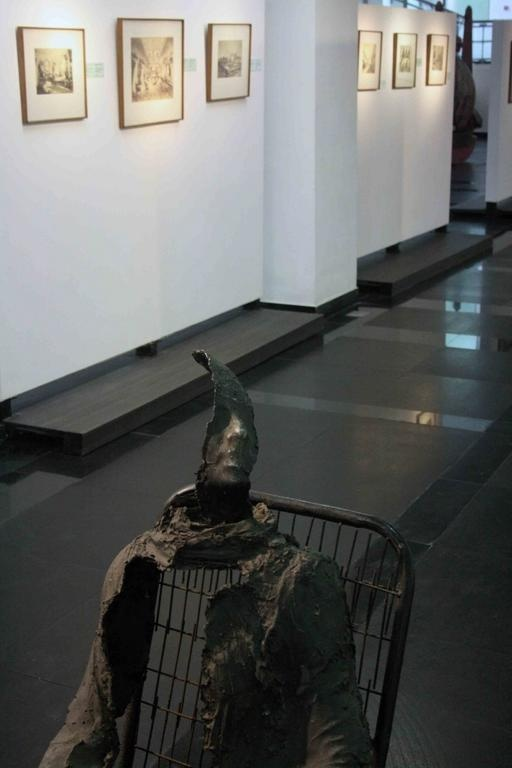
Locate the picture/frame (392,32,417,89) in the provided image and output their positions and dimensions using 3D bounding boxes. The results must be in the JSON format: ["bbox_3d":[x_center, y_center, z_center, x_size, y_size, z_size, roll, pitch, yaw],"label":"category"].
[{"bbox_3d":[2.666,-5.830,10.206,0.084,1.345,1.015,6,15,31],"label":"picture/frame"}]

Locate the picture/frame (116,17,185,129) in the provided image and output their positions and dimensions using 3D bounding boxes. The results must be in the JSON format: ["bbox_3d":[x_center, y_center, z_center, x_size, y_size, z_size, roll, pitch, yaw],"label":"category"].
[{"bbox_3d":[-1.053,-3.210,5.837,0.075,0.933,0.899,27,41,25],"label":"picture/frame"}]

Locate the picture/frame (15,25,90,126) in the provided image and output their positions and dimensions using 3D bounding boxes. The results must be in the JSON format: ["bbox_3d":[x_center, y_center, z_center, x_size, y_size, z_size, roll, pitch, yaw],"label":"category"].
[{"bbox_3d":[-1.746,-2.624,4.796,0.057,0.935,0.869,7,15,28],"label":"picture/frame"}]

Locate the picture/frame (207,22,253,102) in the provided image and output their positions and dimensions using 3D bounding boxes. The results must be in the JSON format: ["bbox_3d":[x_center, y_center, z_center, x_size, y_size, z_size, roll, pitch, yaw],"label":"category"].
[{"bbox_3d":[-0.292,-3.902,6.870,0.073,0.779,0.724,-18,31,-42],"label":"picture/frame"}]
